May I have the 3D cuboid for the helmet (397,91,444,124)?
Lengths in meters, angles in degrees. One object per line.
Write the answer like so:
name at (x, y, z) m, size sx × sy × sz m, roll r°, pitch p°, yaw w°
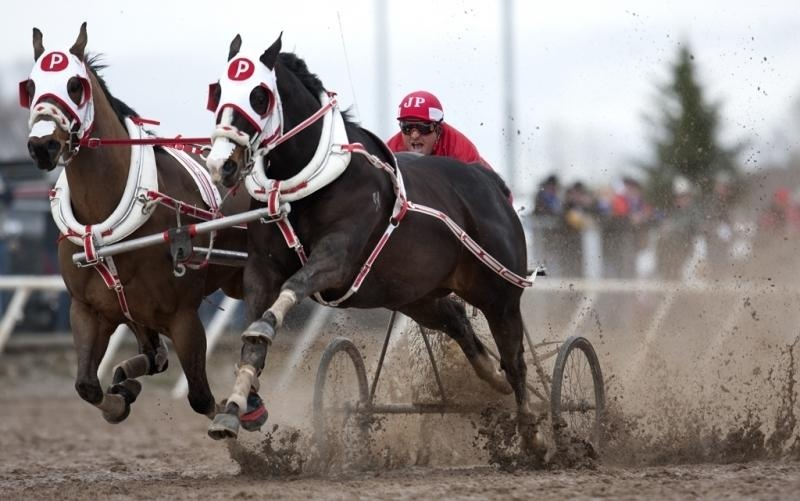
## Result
helmet at (0.164, -1.322, 12.797) m, size 0.413 × 0.282 × 0.524 m, roll 4°, pitch 16°, yaw 23°

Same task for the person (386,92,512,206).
person at (0.411, -0.936, 13.456) m, size 1.245 × 0.803 × 1.789 m, roll -1°, pitch -7°, yaw 17°
